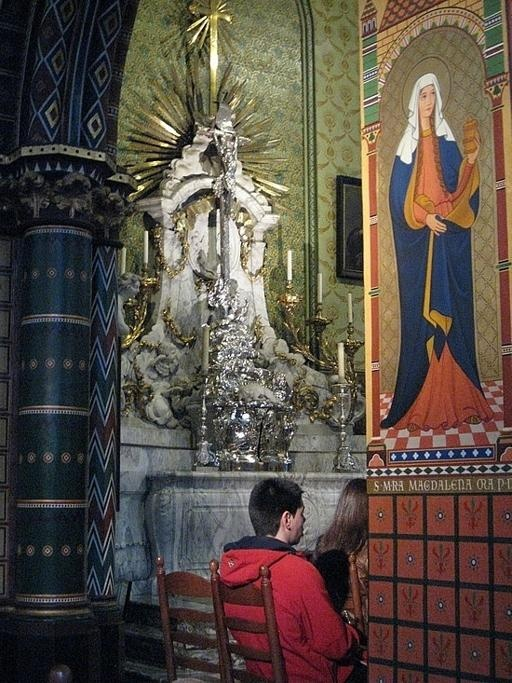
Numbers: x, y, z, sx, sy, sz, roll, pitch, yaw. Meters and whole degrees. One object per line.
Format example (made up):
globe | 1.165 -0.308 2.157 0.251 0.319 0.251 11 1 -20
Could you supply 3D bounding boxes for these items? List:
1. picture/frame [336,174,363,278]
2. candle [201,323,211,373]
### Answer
picture/frame | 0.831 -1.026 7.915 0.285 0.914 0.089 4 -5 -38
candle | -0.337 0.060 5.664 0.042 0.306 0.134 1 -4 -10
